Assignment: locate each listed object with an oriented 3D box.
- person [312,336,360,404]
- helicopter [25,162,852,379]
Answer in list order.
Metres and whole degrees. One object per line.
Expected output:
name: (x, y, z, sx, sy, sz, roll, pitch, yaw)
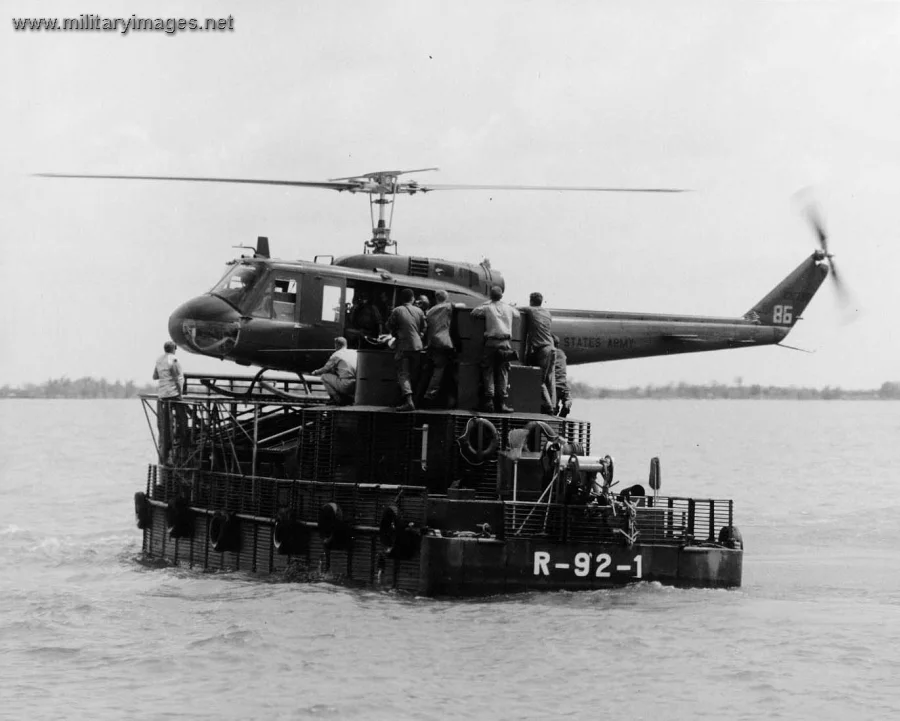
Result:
person: (-2.276, 0.182, 43.927, 0.841, 1.464, 0.867, 7, 11, 42)
helicopter: (-0.131, -1.724, 52.063, 20.528, 5.095, 15.358, -2, 0, -29)
